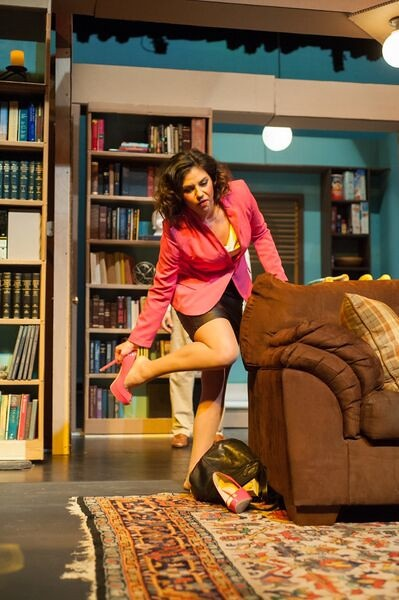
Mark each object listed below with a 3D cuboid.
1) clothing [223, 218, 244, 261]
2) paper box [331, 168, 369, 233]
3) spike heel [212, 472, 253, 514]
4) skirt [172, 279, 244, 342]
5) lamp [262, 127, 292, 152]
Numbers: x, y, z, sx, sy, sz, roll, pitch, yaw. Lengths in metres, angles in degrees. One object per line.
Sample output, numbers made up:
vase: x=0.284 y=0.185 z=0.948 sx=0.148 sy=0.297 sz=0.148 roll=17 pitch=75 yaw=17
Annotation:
clothing: x=0.124 y=-0.212 z=2.092 sx=0.087 sy=0.106 sz=0.054 roll=-11 pitch=-34 yaw=0
paper box: x=1.749 y=-1.145 z=6.983 sx=0.429 sy=0.793 sz=0.250 roll=-3 pitch=-8 yaw=12
spike heel: x=0.097 y=0.596 z=1.861 sx=0.075 sy=0.057 sz=0.140 roll=-25 pitch=34 yaw=-15
skirt: x=0.044 y=0.039 z=2.213 sx=0.210 sy=0.237 sz=0.361 roll=-3 pitch=-4 yaw=13
lamp: x=0.782 y=-1.670 z=6.032 sx=0.274 sy=0.257 sz=0.222 roll=-1 pitch=-8 yaw=2
